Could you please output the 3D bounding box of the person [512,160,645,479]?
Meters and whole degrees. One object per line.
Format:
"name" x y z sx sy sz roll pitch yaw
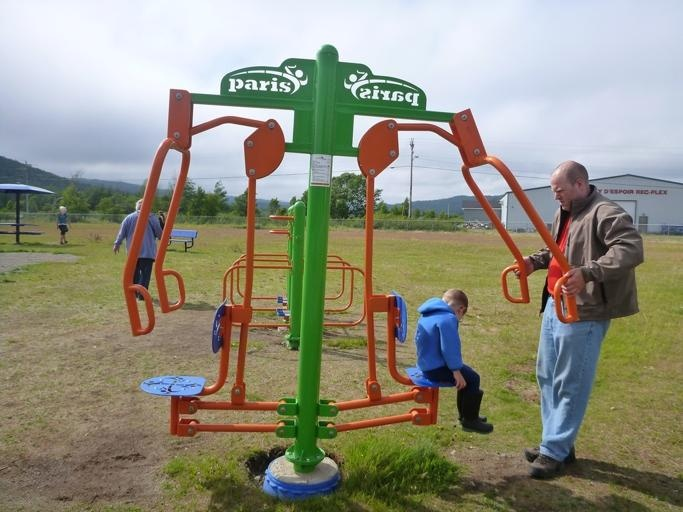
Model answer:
"person" 1.991 0.501 4.628 0.808 2.537 0.783 1 10 -5

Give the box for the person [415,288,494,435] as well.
"person" 0.906 0.969 4.611 0.680 1.285 0.494 -5 12 -35
